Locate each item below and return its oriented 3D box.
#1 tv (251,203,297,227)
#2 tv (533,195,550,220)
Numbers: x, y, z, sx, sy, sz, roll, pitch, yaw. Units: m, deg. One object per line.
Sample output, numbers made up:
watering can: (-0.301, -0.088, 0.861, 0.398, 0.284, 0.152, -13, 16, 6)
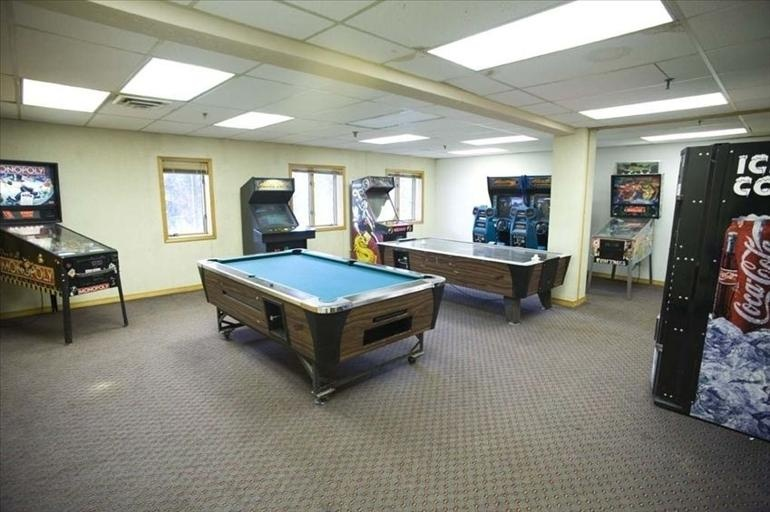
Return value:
tv: (-2.003, -0.739, 8.705, 0.840, 0.428, 0.522, 2, 13, -31)
tv: (2.935, -0.922, 9.023, 0.129, 0.457, 0.284, -8, 16, -30)
